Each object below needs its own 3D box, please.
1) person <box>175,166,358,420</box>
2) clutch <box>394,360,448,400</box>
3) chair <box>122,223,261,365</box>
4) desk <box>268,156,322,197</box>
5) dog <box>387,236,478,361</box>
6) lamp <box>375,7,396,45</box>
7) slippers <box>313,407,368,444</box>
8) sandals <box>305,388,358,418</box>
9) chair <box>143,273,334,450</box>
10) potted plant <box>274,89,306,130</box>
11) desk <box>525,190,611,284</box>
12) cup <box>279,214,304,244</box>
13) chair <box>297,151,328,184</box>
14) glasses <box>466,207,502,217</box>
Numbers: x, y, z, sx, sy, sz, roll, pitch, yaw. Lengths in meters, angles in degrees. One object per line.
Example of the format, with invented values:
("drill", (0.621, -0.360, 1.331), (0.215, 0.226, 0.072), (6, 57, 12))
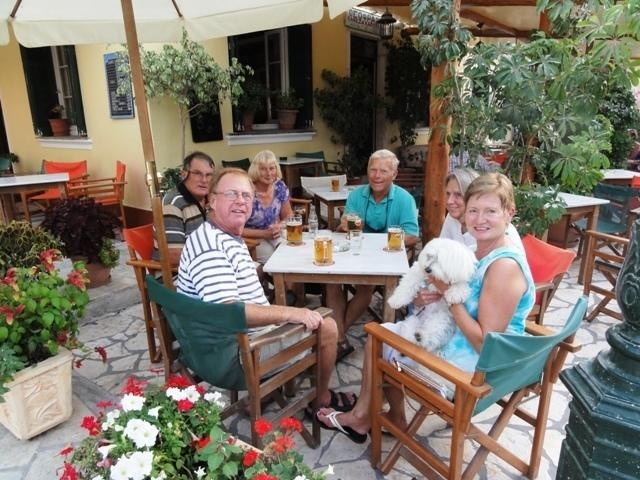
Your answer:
("person", (-0.290, 0.369, 2.814), (1.150, 1.623, 0.867), (-5, 1, 0))
("clutch", (0.547, 0.751, 2.367), (0.203, 0.049, 0.155), (35, 5, 24))
("chair", (-1.157, 0.378, 3.751), (0.933, 1.334, 0.880), (7, 15, 30))
("desk", (-0.312, -1.115, 7.586), (0.625, 0.633, 0.658), (3, 34, 0))
("dog", (0.623, 0.288, 2.503), (0.386, 0.634, 0.325), (29, -4, 26))
("lamp", (1.144, -3.711, 7.708), (0.295, 0.366, 0.711), (0, 15, 9))
("slippers", (0.131, 1.192, 2.919), (0.376, 0.102, 0.153), (32, 61, 15))
("sandals", (0.095, 1.093, 3.013), (0.380, 0.114, 0.153), (-11, 23, -25))
("chair", (-0.589, 0.718, 3.042), (1.012, 1.383, 1.051), (8, 15, 38))
("potted plant", (-0.497, -2.289, 7.900), (0.598, 0.776, 0.591), (2, 22, 2))
("desk", (2.783, -0.154, 5.111), (0.761, 0.776, 0.783), (-8, 24, -20))
("cup", (-0.213, -0.082, 3.703), (0.212, 0.239, 0.133), (1, 4, 40))
("chair", (-0.130, -1.320, 7.930), (0.452, 0.646, 0.490), (0, 11, 4))
("glasses", (0.885, -0.155, 2.402), (0.171, 0.041, 0.038), (2, 15, 14))
